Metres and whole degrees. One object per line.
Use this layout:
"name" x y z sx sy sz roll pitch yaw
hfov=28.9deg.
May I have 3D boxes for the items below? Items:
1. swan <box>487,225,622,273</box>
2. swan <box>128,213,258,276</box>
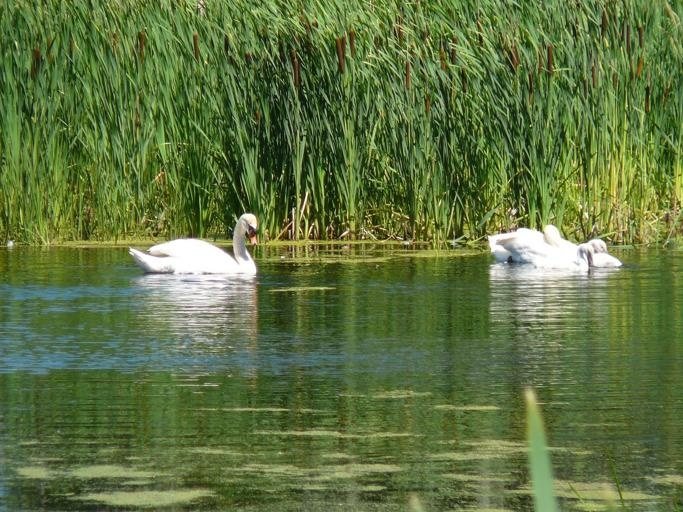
"swan" 2.425 -0.133 15.307 1.565 0.495 0.340 3 7 29
"swan" -1.603 -0.138 14.553 1.331 0.571 0.907 -1 7 -4
